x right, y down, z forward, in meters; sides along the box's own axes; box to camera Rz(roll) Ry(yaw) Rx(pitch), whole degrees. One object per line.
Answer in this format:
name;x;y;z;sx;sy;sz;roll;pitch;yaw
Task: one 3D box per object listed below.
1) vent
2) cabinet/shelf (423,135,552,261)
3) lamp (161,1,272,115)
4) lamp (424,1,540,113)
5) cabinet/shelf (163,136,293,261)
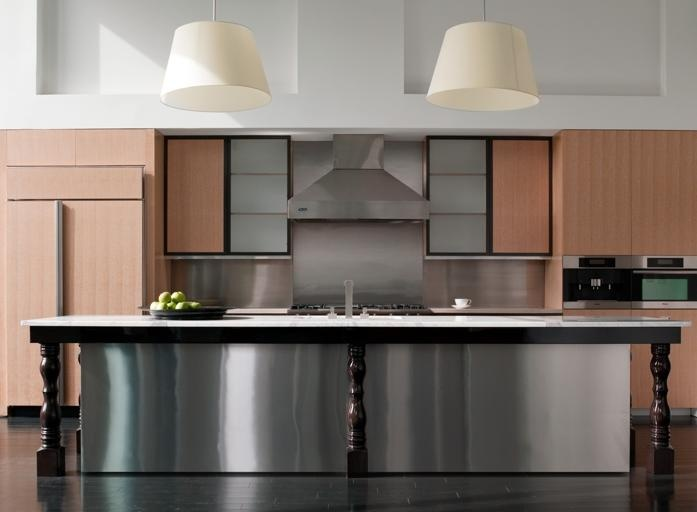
vent;0.134;-0.697;10.955;1.047;0.606;1.024;1;-3;1
cabinet/shelf;1.442;-0.585;10.797;1.282;1.133;0.437;1;-1;1
lamp;-1.023;-1.685;8.585;0.840;0.987;0.536;2;-18;-8
lamp;1.076;-1.476;8.783;0.882;0.914;0.890;3;-5;-23
cabinet/shelf;-1.243;-0.606;10.811;1.282;1.136;0.416;1;-1;-7
